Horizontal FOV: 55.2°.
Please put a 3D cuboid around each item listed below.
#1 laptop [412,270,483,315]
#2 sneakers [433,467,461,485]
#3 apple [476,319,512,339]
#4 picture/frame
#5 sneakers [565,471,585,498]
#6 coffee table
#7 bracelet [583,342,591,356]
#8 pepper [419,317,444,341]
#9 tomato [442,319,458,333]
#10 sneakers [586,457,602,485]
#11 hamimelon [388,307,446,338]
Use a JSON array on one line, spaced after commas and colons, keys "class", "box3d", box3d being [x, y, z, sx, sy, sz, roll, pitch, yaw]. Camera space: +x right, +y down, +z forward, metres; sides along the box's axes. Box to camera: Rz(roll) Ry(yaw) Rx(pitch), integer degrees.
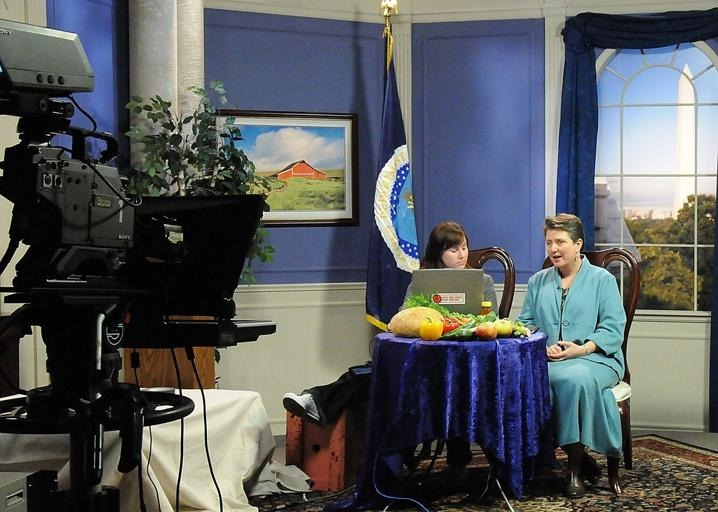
[{"class": "laptop", "box3d": [0.507, 0.172, 3.826, 0.349, 0.252, 0.253, 1, 1, 3]}, {"class": "sneakers", "box3d": [0.546, 1.332, 4.157, 0.107, 0.114, 0.067, -3, 6, -13]}, {"class": "apple", "box3d": [0.722, 0.381, 3.641, 0.083, 0.065, 0.204, -2, 0, 27]}, {"class": "picture/frame", "box3d": [-0.567, -0.643, 4.851, 0.997, 0.813, 0.049, -1, 3, -7]}, {"class": "sneakers", "box3d": [1.213, 1.282, 3.863, 0.101, 0.116, 0.105, 0, 5, 15]}, {"class": "coffee table", "box3d": [0.539, 0.825, 3.977, 1.092, 0.793, 1.037, -1, 5, -30]}, {"class": "bracelet", "box3d": [1.355, 0.553, 4.105, 0.050, 0.072, 0.032, 2, -2, -10]}, {"class": "pepper", "box3d": [0.383, 0.383, 3.608, 0.102, 0.109, 0.105, 0, -6, -3]}, {"class": "tomato", "box3d": [0.483, 0.370, 3.682, 0.064, 0.066, 0.065, 16, 33, 43]}, {"class": "sneakers", "box3d": [1.398, 1.271, 4.094, 0.060, 0.079, 0.181, -25, 7, 14]}, {"class": "hamimelon", "box3d": [0.304, 0.351, 3.760, 0.164, 0.114, 0.212, -6, -2, -26]}]
